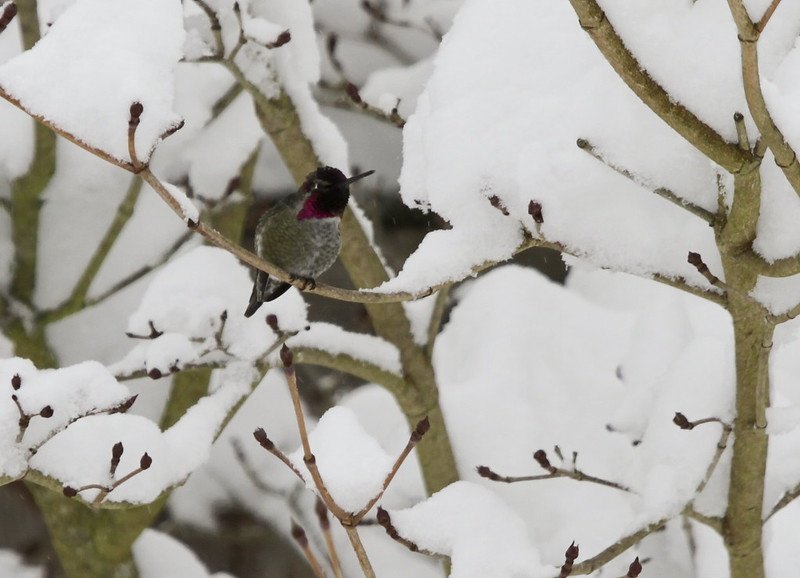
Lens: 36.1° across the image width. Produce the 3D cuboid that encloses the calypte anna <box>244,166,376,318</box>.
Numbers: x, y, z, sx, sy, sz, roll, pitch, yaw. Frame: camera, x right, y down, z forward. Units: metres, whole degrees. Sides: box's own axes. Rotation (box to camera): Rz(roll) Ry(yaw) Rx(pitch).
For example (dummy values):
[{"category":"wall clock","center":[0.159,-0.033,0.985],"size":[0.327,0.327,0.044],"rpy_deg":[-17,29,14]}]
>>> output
[{"category":"calypte anna","center":[-0.458,-0.256,6.036],"size":[0.246,0.787,0.361],"rpy_deg":[22,35,-32]}]
